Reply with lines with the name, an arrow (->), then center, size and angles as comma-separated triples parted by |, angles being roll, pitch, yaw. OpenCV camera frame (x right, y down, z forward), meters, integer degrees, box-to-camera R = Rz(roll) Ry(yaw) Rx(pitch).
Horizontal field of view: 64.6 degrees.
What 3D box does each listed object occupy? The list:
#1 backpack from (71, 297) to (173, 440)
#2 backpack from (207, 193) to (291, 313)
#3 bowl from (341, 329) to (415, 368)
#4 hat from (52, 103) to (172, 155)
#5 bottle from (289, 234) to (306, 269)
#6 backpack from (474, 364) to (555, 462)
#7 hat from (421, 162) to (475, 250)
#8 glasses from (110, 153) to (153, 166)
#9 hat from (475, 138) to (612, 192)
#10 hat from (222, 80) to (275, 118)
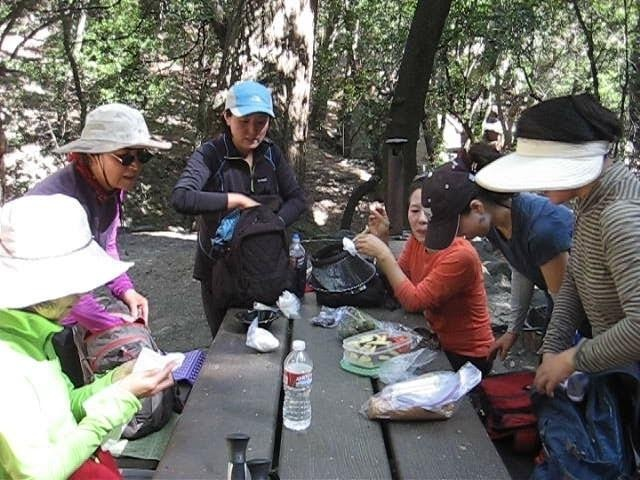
backpack -> -1.041, 0.670, 2.608 | 0.331, 0.695, 0.514 | -18, 27, -4
backpack -> -0.445, 0.118, 3.459 | 0.568, 0.728, 0.375 | -11, 24, -34
bowl -> 0.318, 0.595, 2.839 | 0.277, 0.104, 0.221 | -18, 13, -7
hat -> -1.262, -0.693, 3.093 | 0.604, 0.269, 0.484 | 7, 2, -18
bottle -> -0.185, 0.089, 3.945 | 0.109, 0.287, 0.116 | -1, -19, 0
backpack -> 1.023, 0.875, 2.599 | 0.314, 0.140, 0.330 | -13, 28, -21
hat -> 0.721, -0.178, 2.891 | 0.263, 0.445, 0.229 | 19, -7, 46
glasses -> -1.103, -0.489, 3.028 | 0.098, 0.083, 0.261 | 18, 20, 37
hat -> 1.013, -0.329, 2.225 | 0.389, 0.139, 0.323 | -10, 6, -12
hat -> -0.490, -0.994, 3.579 | 0.350, 0.258, 0.468 | -6, 15, -39
